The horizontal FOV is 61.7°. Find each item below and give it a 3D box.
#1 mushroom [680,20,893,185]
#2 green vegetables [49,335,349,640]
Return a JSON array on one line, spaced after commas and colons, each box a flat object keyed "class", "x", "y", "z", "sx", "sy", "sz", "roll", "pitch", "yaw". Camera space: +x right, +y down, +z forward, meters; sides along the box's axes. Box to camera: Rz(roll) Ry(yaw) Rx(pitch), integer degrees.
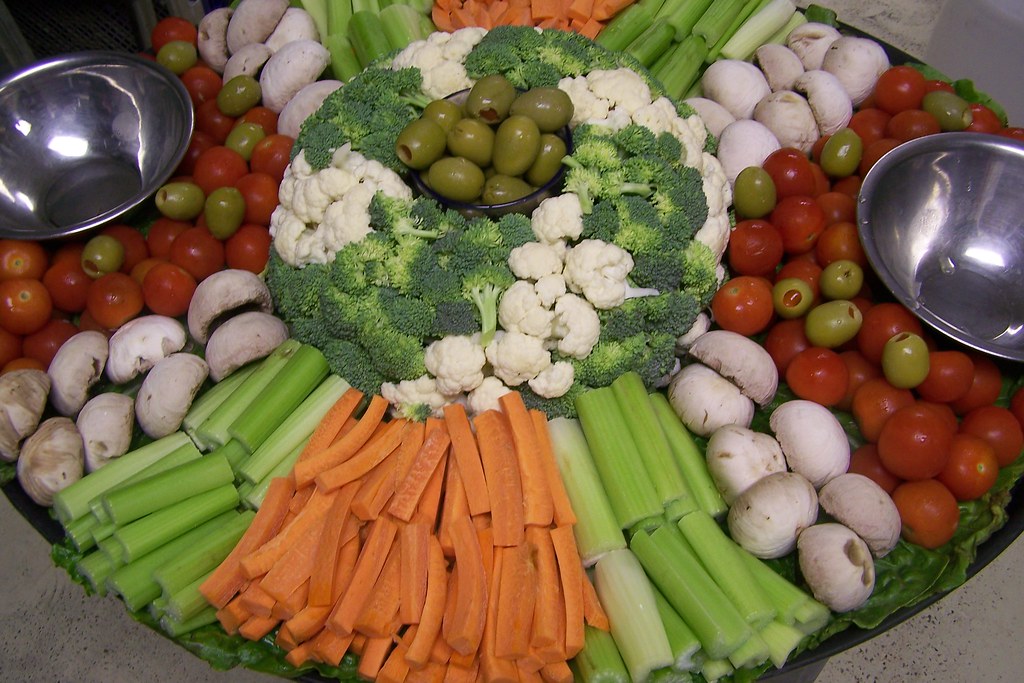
[{"class": "mushroom", "x": 1.408, "y": -1.264, "z": 4.319, "sx": 1.071, "sy": 0.344, "sz": 0.674, "roll": -39, "pitch": 58, "yaw": -5}, {"class": "green vegetables", "x": -1.151, "y": 0.626, "z": 3.754, "sx": 0.789, "sy": 0.579, "sz": 1.336, "roll": 34, "pitch": 66, "yaw": 32}]
